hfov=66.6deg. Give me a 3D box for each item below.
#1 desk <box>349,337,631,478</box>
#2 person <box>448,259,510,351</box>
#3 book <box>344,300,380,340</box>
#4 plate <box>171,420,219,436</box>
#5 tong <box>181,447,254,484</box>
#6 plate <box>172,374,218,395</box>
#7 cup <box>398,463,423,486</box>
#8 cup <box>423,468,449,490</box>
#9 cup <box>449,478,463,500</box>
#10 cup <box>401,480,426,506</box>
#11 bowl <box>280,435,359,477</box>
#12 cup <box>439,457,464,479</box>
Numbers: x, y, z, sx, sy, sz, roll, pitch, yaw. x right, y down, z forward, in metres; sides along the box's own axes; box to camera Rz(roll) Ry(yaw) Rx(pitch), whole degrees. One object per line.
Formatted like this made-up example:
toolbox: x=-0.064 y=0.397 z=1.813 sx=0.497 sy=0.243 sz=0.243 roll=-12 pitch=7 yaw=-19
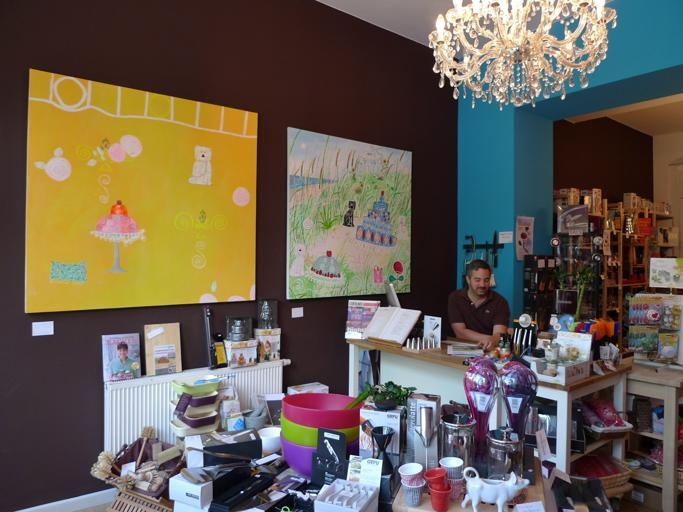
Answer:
desk: x=0.869 y=1.298 z=4.321 sx=0.552 sy=0.747 sz=1.417 roll=25 pitch=-31 yaw=-12
person: x=1.390 y=0.574 z=5.262 sx=0.517 sy=0.985 sz=0.923 roll=-1 pitch=13 yaw=-5
book: x=0.205 y=0.657 z=5.178 sx=0.361 sy=0.469 sz=0.061 roll=5 pitch=-23 yaw=28
plate: x=-1.215 y=1.469 z=4.352 sx=0.402 sy=0.100 sz=0.263 roll=2 pitch=-3 yaw=-25
tong: x=-0.677 y=1.141 z=2.796 sx=0.248 sy=0.089 sz=0.182 roll=12 pitch=5 yaw=-20
plate: x=-1.222 y=1.122 z=4.403 sx=0.221 sy=0.078 sz=0.165 roll=-3 pitch=1 yaw=-35
cup: x=0.360 y=1.158 z=2.741 sx=0.102 sy=0.086 sz=0.103 roll=-3 pitch=1 yaw=0
cup: x=0.488 y=1.173 z=2.723 sx=0.092 sy=0.078 sz=0.092 roll=-10 pitch=-6 yaw=-1
cup: x=0.602 y=1.246 z=2.742 sx=0.089 sy=0.079 sz=0.084 roll=-1 pitch=-2 yaw=0
cup: x=0.377 y=1.251 z=2.734 sx=0.122 sy=0.136 sz=0.099 roll=-3 pitch=0 yaw=5
bowl: x=-0.200 y=1.203 z=3.023 sx=0.273 sy=0.151 sz=0.283 roll=11 pitch=-7 yaw=1
cup: x=0.589 y=1.141 z=2.764 sx=0.087 sy=0.081 sz=0.098 roll=-1 pitch=-7 yaw=-5
